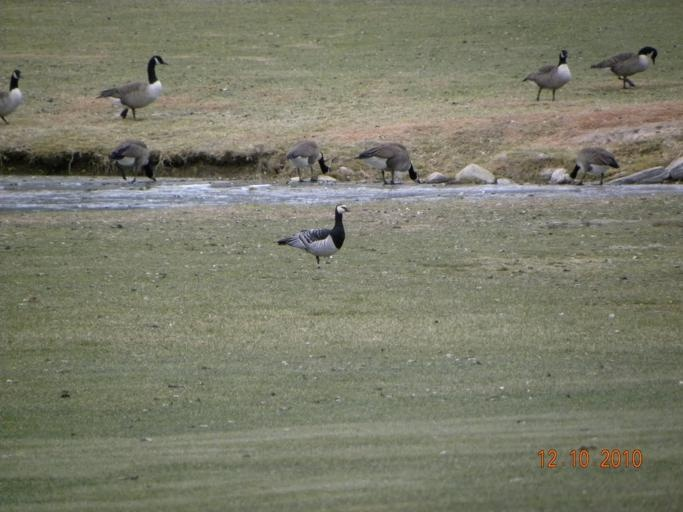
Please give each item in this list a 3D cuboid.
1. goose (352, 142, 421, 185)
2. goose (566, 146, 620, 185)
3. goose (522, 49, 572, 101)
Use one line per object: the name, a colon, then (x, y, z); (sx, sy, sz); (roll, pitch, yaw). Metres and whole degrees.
goose: (1.621, -2.879, 42.949); (2.455, 1.127, 0.979); (5, 8, -24)
goose: (7.438, -2.592, 41.924); (1.594, 1.069, 1.545); (4, 13, 16)
goose: (7.452, -6.476, 51.369); (1.357, 2.723, 1.913); (-3, -33, 7)
